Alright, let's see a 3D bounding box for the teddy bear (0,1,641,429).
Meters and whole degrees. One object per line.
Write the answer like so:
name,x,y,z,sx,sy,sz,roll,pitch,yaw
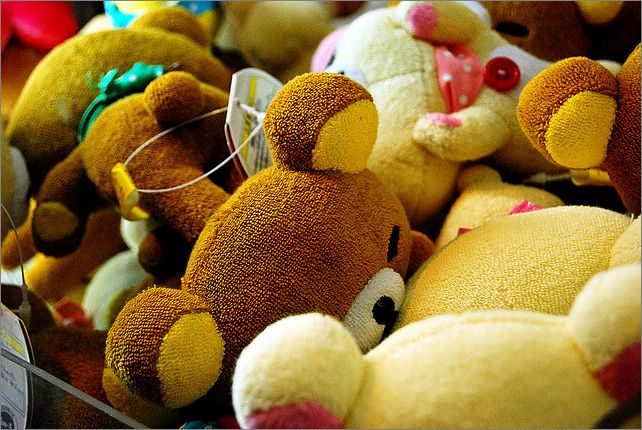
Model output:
teddy bear,0.041,-0.129,1.154,0.712,0.229,0.724,-9,42,5
